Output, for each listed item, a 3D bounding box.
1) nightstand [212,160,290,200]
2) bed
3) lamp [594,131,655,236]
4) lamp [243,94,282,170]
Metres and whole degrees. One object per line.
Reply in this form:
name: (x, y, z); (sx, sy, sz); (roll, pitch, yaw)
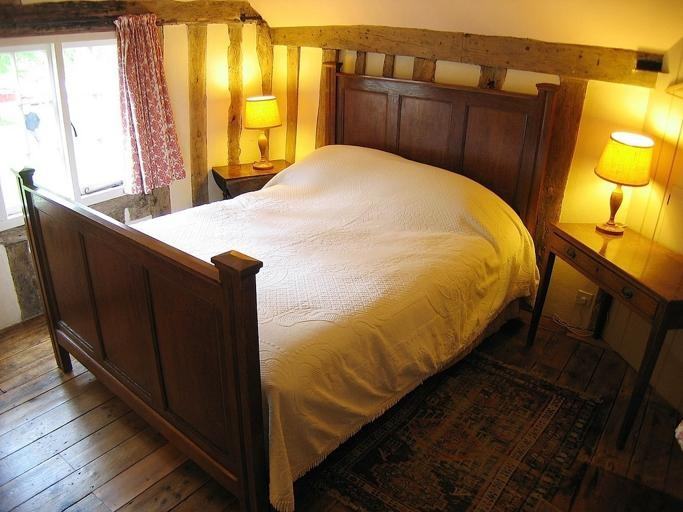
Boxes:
nightstand: (-0.797, -0.645, 4.209); (0.404, 0.293, 0.220); (-15, 47, -27)
bed: (-0.178, -0.214, 3.103); (2.084, 1.679, 2.819); (22, 33, 38)
lamp: (1.731, -0.448, 3.013); (0.300, 0.576, 0.332); (16, 29, 30)
lamp: (-0.734, -1.159, 4.496); (0.374, 0.636, 0.379); (-13, 36, -18)
